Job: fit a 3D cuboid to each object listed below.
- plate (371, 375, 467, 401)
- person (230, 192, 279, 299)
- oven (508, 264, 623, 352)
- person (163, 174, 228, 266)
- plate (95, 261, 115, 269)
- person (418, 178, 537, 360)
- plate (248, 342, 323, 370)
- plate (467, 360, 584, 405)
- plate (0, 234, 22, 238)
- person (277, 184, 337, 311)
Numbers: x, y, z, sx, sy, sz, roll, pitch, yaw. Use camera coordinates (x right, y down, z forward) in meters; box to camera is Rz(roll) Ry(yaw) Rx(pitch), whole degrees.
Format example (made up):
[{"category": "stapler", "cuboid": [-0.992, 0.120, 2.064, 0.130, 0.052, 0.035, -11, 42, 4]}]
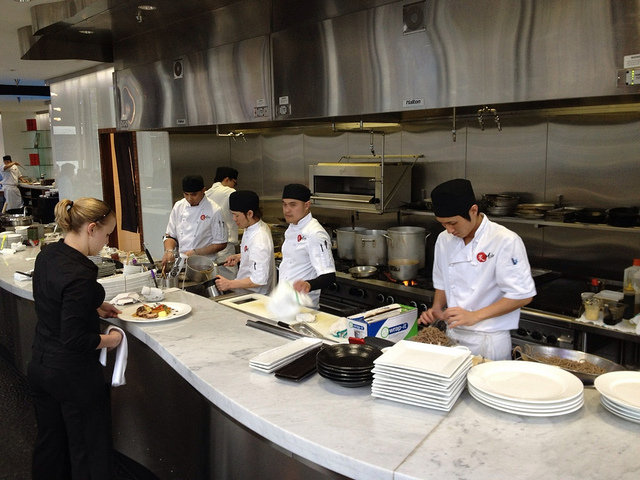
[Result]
[{"category": "plate", "cuboid": [0.368, 0.563, 1.605, 0.332, 0.040, 0.107, -5, 9, 1]}, {"category": "person", "cuboid": [-0.547, 0.050, 3.403, 0.353, 0.841, 0.488, -8, 10, -11]}, {"category": "oven", "cuboid": [1.727, 0.682, 3.171, 0.535, 0.712, 0.584, -12, 11, -25]}, {"category": "person", "cuboid": [-1.233, -0.159, 4.291, 0.605, 0.942, 0.971, -9, 10, -19]}, {"category": "plate", "cuboid": [-1.749, 0.208, 3.542, 0.102, 0.022, 0.099, -3, 10, -28]}, {"category": "person", "cuboid": [0.858, 0.207, 2.533, 0.674, 1.129, 0.617, -8, 10, -12]}, {"category": "plate", "cuboid": [-0.142, 0.505, 1.981, 0.086, 0.032, 0.301, 3, 9, 41]}, {"category": "plate", "cuboid": [0.770, 0.536, 1.629, 0.351, 0.366, 0.036, -39, 27, 44]}, {"category": "plate", "cuboid": [-3.430, -0.042, 4.829, 0.171, 0.043, 0.125, -13, 12, -43]}, {"category": "person", "cuboid": [-0.104, 0.105, 3.028, 0.394, 0.982, 0.840, -7, 10, -6]}]
